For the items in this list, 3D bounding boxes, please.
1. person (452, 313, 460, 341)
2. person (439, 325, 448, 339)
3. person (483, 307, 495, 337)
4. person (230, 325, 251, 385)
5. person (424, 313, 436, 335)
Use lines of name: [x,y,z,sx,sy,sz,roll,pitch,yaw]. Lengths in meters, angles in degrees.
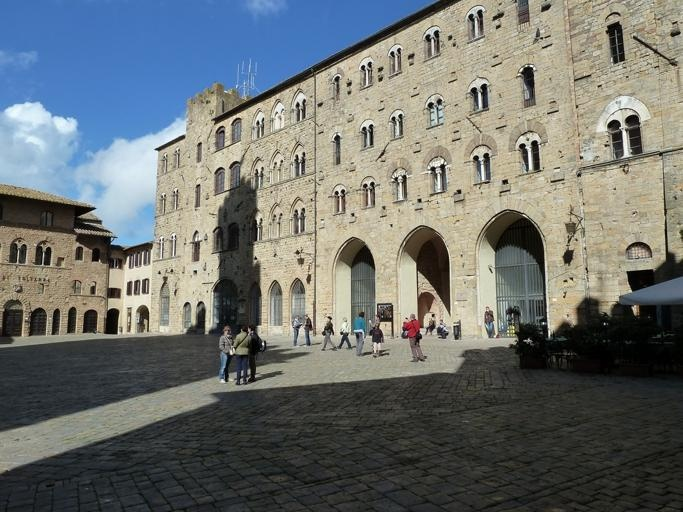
person: [5.514,3.526,25.869,0.361,0.970,0.258,-2,-11,10]
person: [5.236,4.005,28.106,0.530,0.742,0.412,-3,-23,11]
person: [7.092,3.184,25.820,0.761,1.505,0.389,8,-14,-39]
person: [-2.824,2.809,15.255,0.469,1.596,1.232,2,-11,-11]
person: [5.322,4.059,32.447,0.586,1.333,1.949,-2,-10,10]
